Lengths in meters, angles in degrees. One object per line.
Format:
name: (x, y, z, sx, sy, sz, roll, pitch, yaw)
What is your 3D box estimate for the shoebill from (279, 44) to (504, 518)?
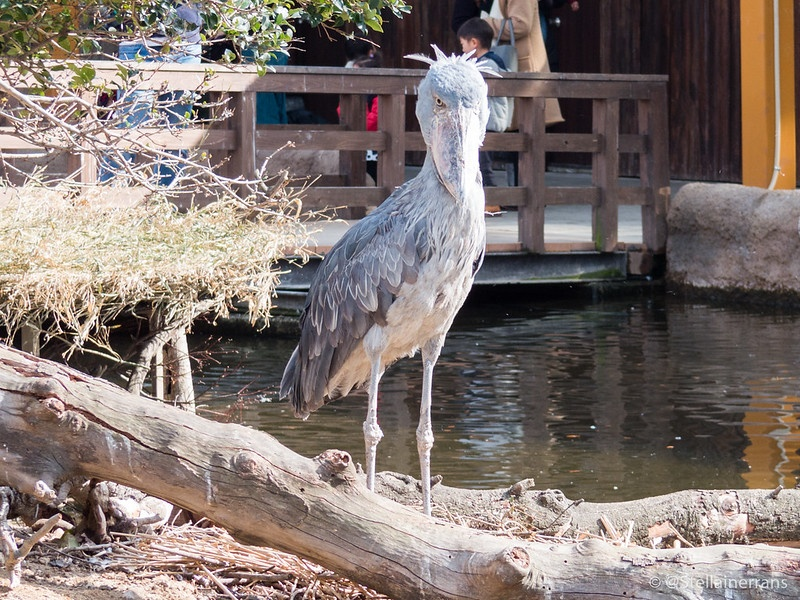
shoebill: (-0.092, -0.123, 10.485, 1.112, 2.739, 0.749, 9, 17, 38)

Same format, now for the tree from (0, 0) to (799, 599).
tree: (-0.237, -0.066, 12.436, 5.577, 3.021, 5.279, -1, 3, -27)
